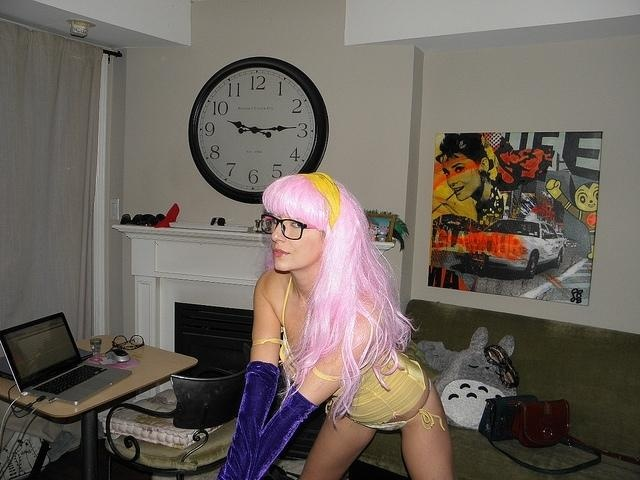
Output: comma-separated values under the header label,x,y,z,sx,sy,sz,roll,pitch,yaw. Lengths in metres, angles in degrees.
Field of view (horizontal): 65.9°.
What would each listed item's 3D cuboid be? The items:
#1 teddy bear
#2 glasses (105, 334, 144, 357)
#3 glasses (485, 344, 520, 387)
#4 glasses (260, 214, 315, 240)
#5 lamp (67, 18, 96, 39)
label,x,y,z,sx,sy,sz,roll,pitch,yaw
teddy bear,0.987,0.908,3.518,0.736,0.740,0.468,12,-6,33
glasses,-1.364,0.734,3.371,0.217,0.092,0.255,1,8,8
glasses,1.248,0.867,3.390,0.168,0.280,0.107,-17,-19,-28
glasses,-0.146,-0.049,1.906,0.205,0.090,0.058,9,10,29
lamp,-1.800,-1.566,3.679,0.177,0.101,0.231,-3,11,-34
